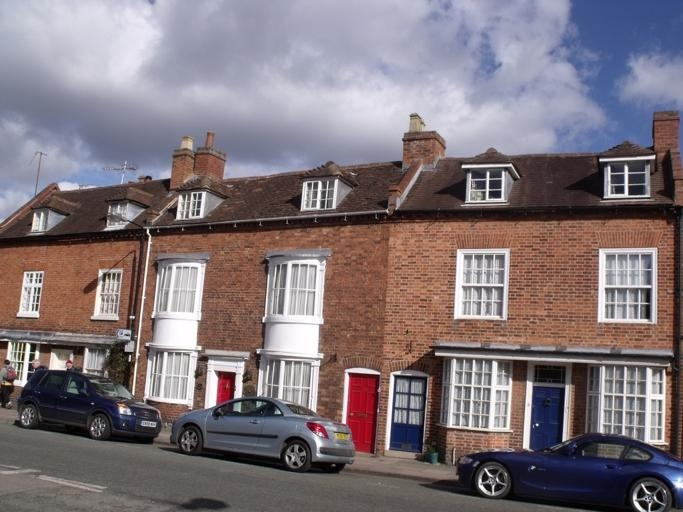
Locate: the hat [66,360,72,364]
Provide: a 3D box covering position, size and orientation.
[{"bbox_3d":[-11.296,4.401,31.953,0.241,0.183,0.186,-4,4,0],"label":"hat"}]

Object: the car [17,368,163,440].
[{"bbox_3d":[-8.098,4.841,25.229,4.463,1.735,2.295,-3,-15,30],"label":"car"}]

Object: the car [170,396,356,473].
[{"bbox_3d":[-2.159,4.987,21.795,4.424,1.397,2.199,1,-17,24],"label":"car"}]

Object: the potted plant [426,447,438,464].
[{"bbox_3d":[2.890,6.435,24.843,0.414,0.388,0.387,0,-1,7],"label":"potted plant"}]

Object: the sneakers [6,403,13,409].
[{"bbox_3d":[-13.624,6.166,31.701,0.141,0.179,0.440,2,-14,-24],"label":"sneakers"}]

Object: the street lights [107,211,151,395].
[{"bbox_3d":[-8.292,1.988,31.373,0.779,6.960,0.471,-3,-12,36],"label":"street lights"}]
